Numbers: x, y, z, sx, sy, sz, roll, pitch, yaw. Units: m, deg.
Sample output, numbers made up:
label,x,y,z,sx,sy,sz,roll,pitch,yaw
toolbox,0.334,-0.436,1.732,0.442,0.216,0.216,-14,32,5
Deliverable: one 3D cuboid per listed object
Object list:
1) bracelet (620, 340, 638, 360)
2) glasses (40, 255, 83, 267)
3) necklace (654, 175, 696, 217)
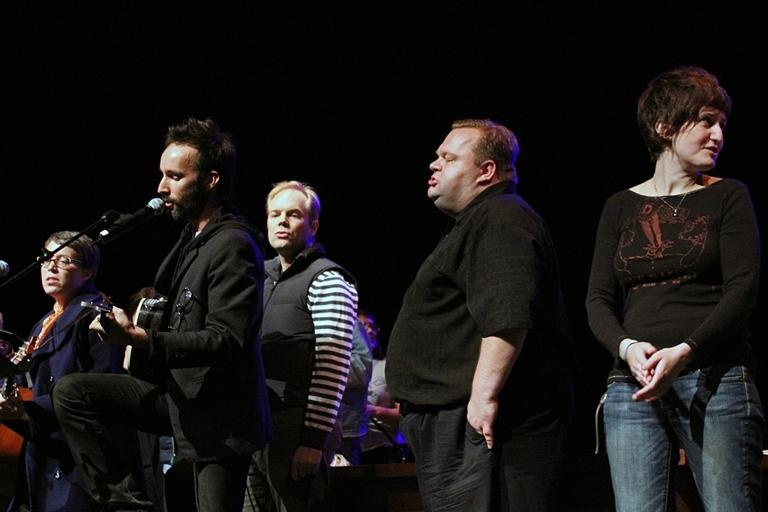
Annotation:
label,x,y,z,sx,sy,sz,roll,pitch,yaw
bracelet,1.131,0.437,3.610,0.093,0.087,0.084,2,-13,9
glasses,-2.100,0.037,5.101,0.198,0.052,0.180,-4,2,-30
necklace,1.421,-0.284,3.780,0.225,0.188,0.056,4,-5,25
